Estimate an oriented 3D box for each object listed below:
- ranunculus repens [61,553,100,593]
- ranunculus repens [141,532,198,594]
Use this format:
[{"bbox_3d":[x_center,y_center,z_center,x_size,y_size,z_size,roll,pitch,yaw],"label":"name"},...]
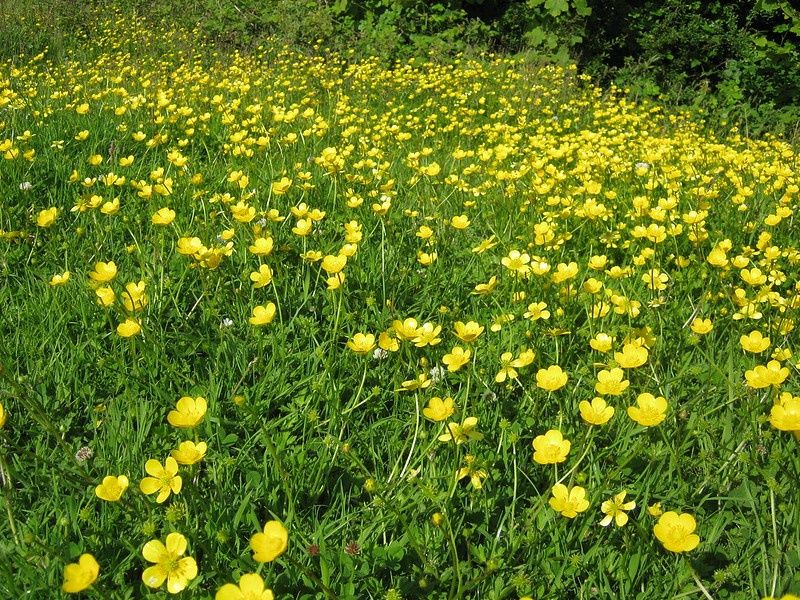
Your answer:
[{"bbox_3d":[-1.064,0.900,2.366,0.122,0.060,0.136,-22,34,3],"label":"ranunculus repens"},{"bbox_3d":[-0.812,0.943,2.475,0.178,0.177,0.153,-12,38,-18],"label":"ranunculus repens"}]
